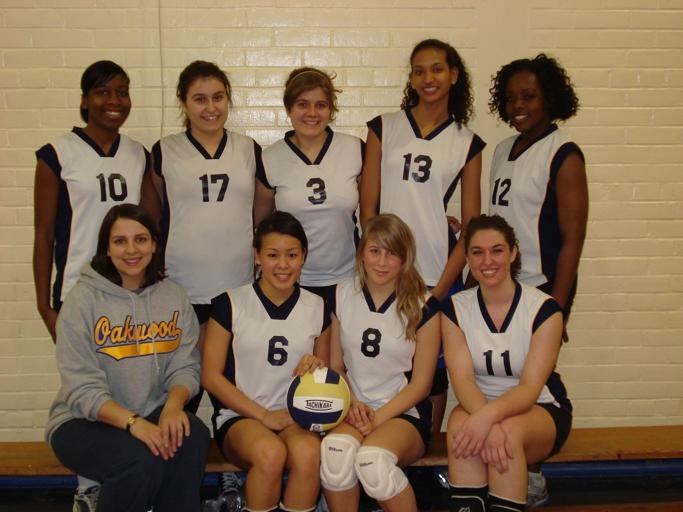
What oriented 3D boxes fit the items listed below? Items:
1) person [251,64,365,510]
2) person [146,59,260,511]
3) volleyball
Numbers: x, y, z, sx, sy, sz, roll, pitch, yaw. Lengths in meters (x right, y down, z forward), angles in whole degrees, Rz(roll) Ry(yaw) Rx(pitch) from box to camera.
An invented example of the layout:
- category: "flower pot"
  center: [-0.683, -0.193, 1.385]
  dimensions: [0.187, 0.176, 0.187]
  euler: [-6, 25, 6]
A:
- category: "person"
  center: [-0.230, 0.153, 4.740]
  dimensions: [0.679, 2.357, 0.789]
  euler: [3, 15, -19]
- category: "person"
  center: [-0.808, -0.043, 4.616]
  dimensions: [0.492, 2.075, 0.566]
  euler: [2, 15, -26]
- category: "volleyball"
  center: [-0.116, 0.766, 4.059]
  dimensions: [0.322, 0.333, 0.154]
  euler: [-1, 13, -3]
